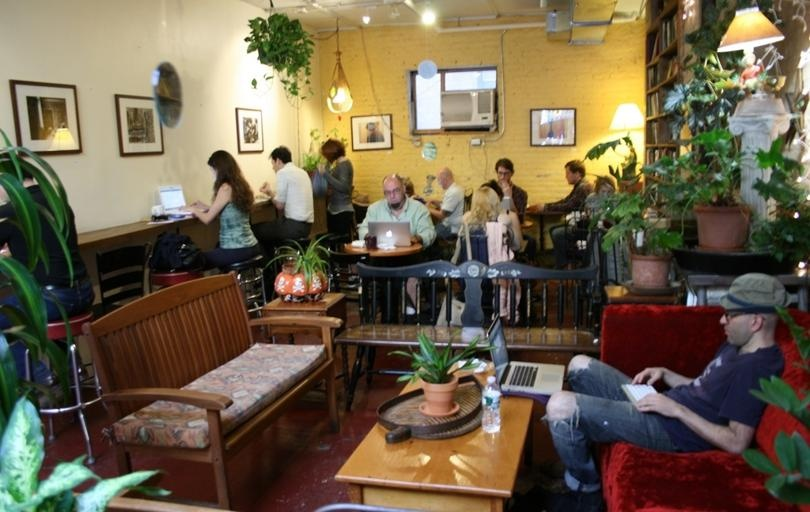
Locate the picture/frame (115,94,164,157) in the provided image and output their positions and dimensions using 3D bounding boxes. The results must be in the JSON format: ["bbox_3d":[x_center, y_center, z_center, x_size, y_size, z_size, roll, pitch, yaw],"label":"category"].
[{"bbox_3d":[-2.865,-1.439,6.238,0.769,0.636,0.047,10,15,32],"label":"picture/frame"}]

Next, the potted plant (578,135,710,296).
[{"bbox_3d":[1.715,-0.303,4.157,0.854,1.102,0.853,1,-4,13],"label":"potted plant"}]

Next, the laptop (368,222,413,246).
[{"bbox_3d":[-0.153,-0.259,6.107,0.400,0.254,0.275,1,11,17],"label":"laptop"}]

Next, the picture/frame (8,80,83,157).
[{"bbox_3d":[-3.296,-1.283,5.311,0.703,0.667,0.023,4,13,10],"label":"picture/frame"}]

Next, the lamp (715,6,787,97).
[{"bbox_3d":[2.370,-1.416,3.898,0.360,0.545,0.623,3,11,33],"label":"lamp"}]

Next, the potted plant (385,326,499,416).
[{"bbox_3d":[0.208,0.683,3.399,0.539,0.416,0.529,0,1,6],"label":"potted plant"}]

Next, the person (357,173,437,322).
[{"bbox_3d":[-0.081,-0.102,6.409,0.859,1.554,0.894,-3,14,7],"label":"person"}]

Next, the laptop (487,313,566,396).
[{"bbox_3d":[0.765,0.554,3.599,0.459,0.348,0.574,0,8,18],"label":"laptop"}]

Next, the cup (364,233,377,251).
[{"bbox_3d":[-0.364,-0.150,6.179,0.166,0.161,0.102,-2,2,-26],"label":"cup"}]

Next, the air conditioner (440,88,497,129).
[{"bbox_3d":[0.965,-2.471,9.620,0.915,0.597,0.465,-5,13,-7],"label":"air conditioner"}]

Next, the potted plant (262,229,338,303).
[{"bbox_3d":[-0.888,0.115,4.731,0.591,0.497,0.590,-3,-14,43],"label":"potted plant"}]

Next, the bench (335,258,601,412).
[{"bbox_3d":[0.464,0.662,4.468,2.027,1.141,0.618,0,8,18],"label":"bench"}]

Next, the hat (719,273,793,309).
[{"bbox_3d":[1.840,0.177,3.018,0.388,0.144,0.296,-4,21,32],"label":"hat"}]

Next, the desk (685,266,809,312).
[{"bbox_3d":[2.270,0.213,3.843,0.449,0.412,0.348,0,3,14],"label":"desk"}]

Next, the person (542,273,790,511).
[{"bbox_3d":[1.446,0.773,3.297,1.212,1.406,0.785,9,10,30],"label":"person"}]

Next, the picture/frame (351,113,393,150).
[{"bbox_3d":[-0.546,-2.197,9.903,0.665,0.541,0.063,1,4,16],"label":"picture/frame"}]

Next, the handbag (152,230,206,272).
[{"bbox_3d":[-2.227,-0.035,5.620,0.528,0.359,0.405,-1,-1,32],"label":"handbag"}]

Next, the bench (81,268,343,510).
[{"bbox_3d":[-1.190,0.809,3.793,0.844,1.217,1.367,2,10,25],"label":"bench"}]

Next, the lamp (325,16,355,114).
[{"bbox_3d":[-1.101,-3.146,9.455,0.437,1.521,1.178,-4,10,-6],"label":"lamp"}]

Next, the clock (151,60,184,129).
[{"bbox_3d":[-2.739,-1.865,6.599,0.149,0.580,0.553,7,23,16],"label":"clock"}]

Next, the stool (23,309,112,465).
[{"bbox_3d":[-2.467,0.985,4.323,0.773,0.995,0.706,-5,8,-25],"label":"stool"}]

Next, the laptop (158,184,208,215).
[{"bbox_3d":[-2.509,-0.616,6.490,0.430,0.267,0.435,3,9,9],"label":"laptop"}]
